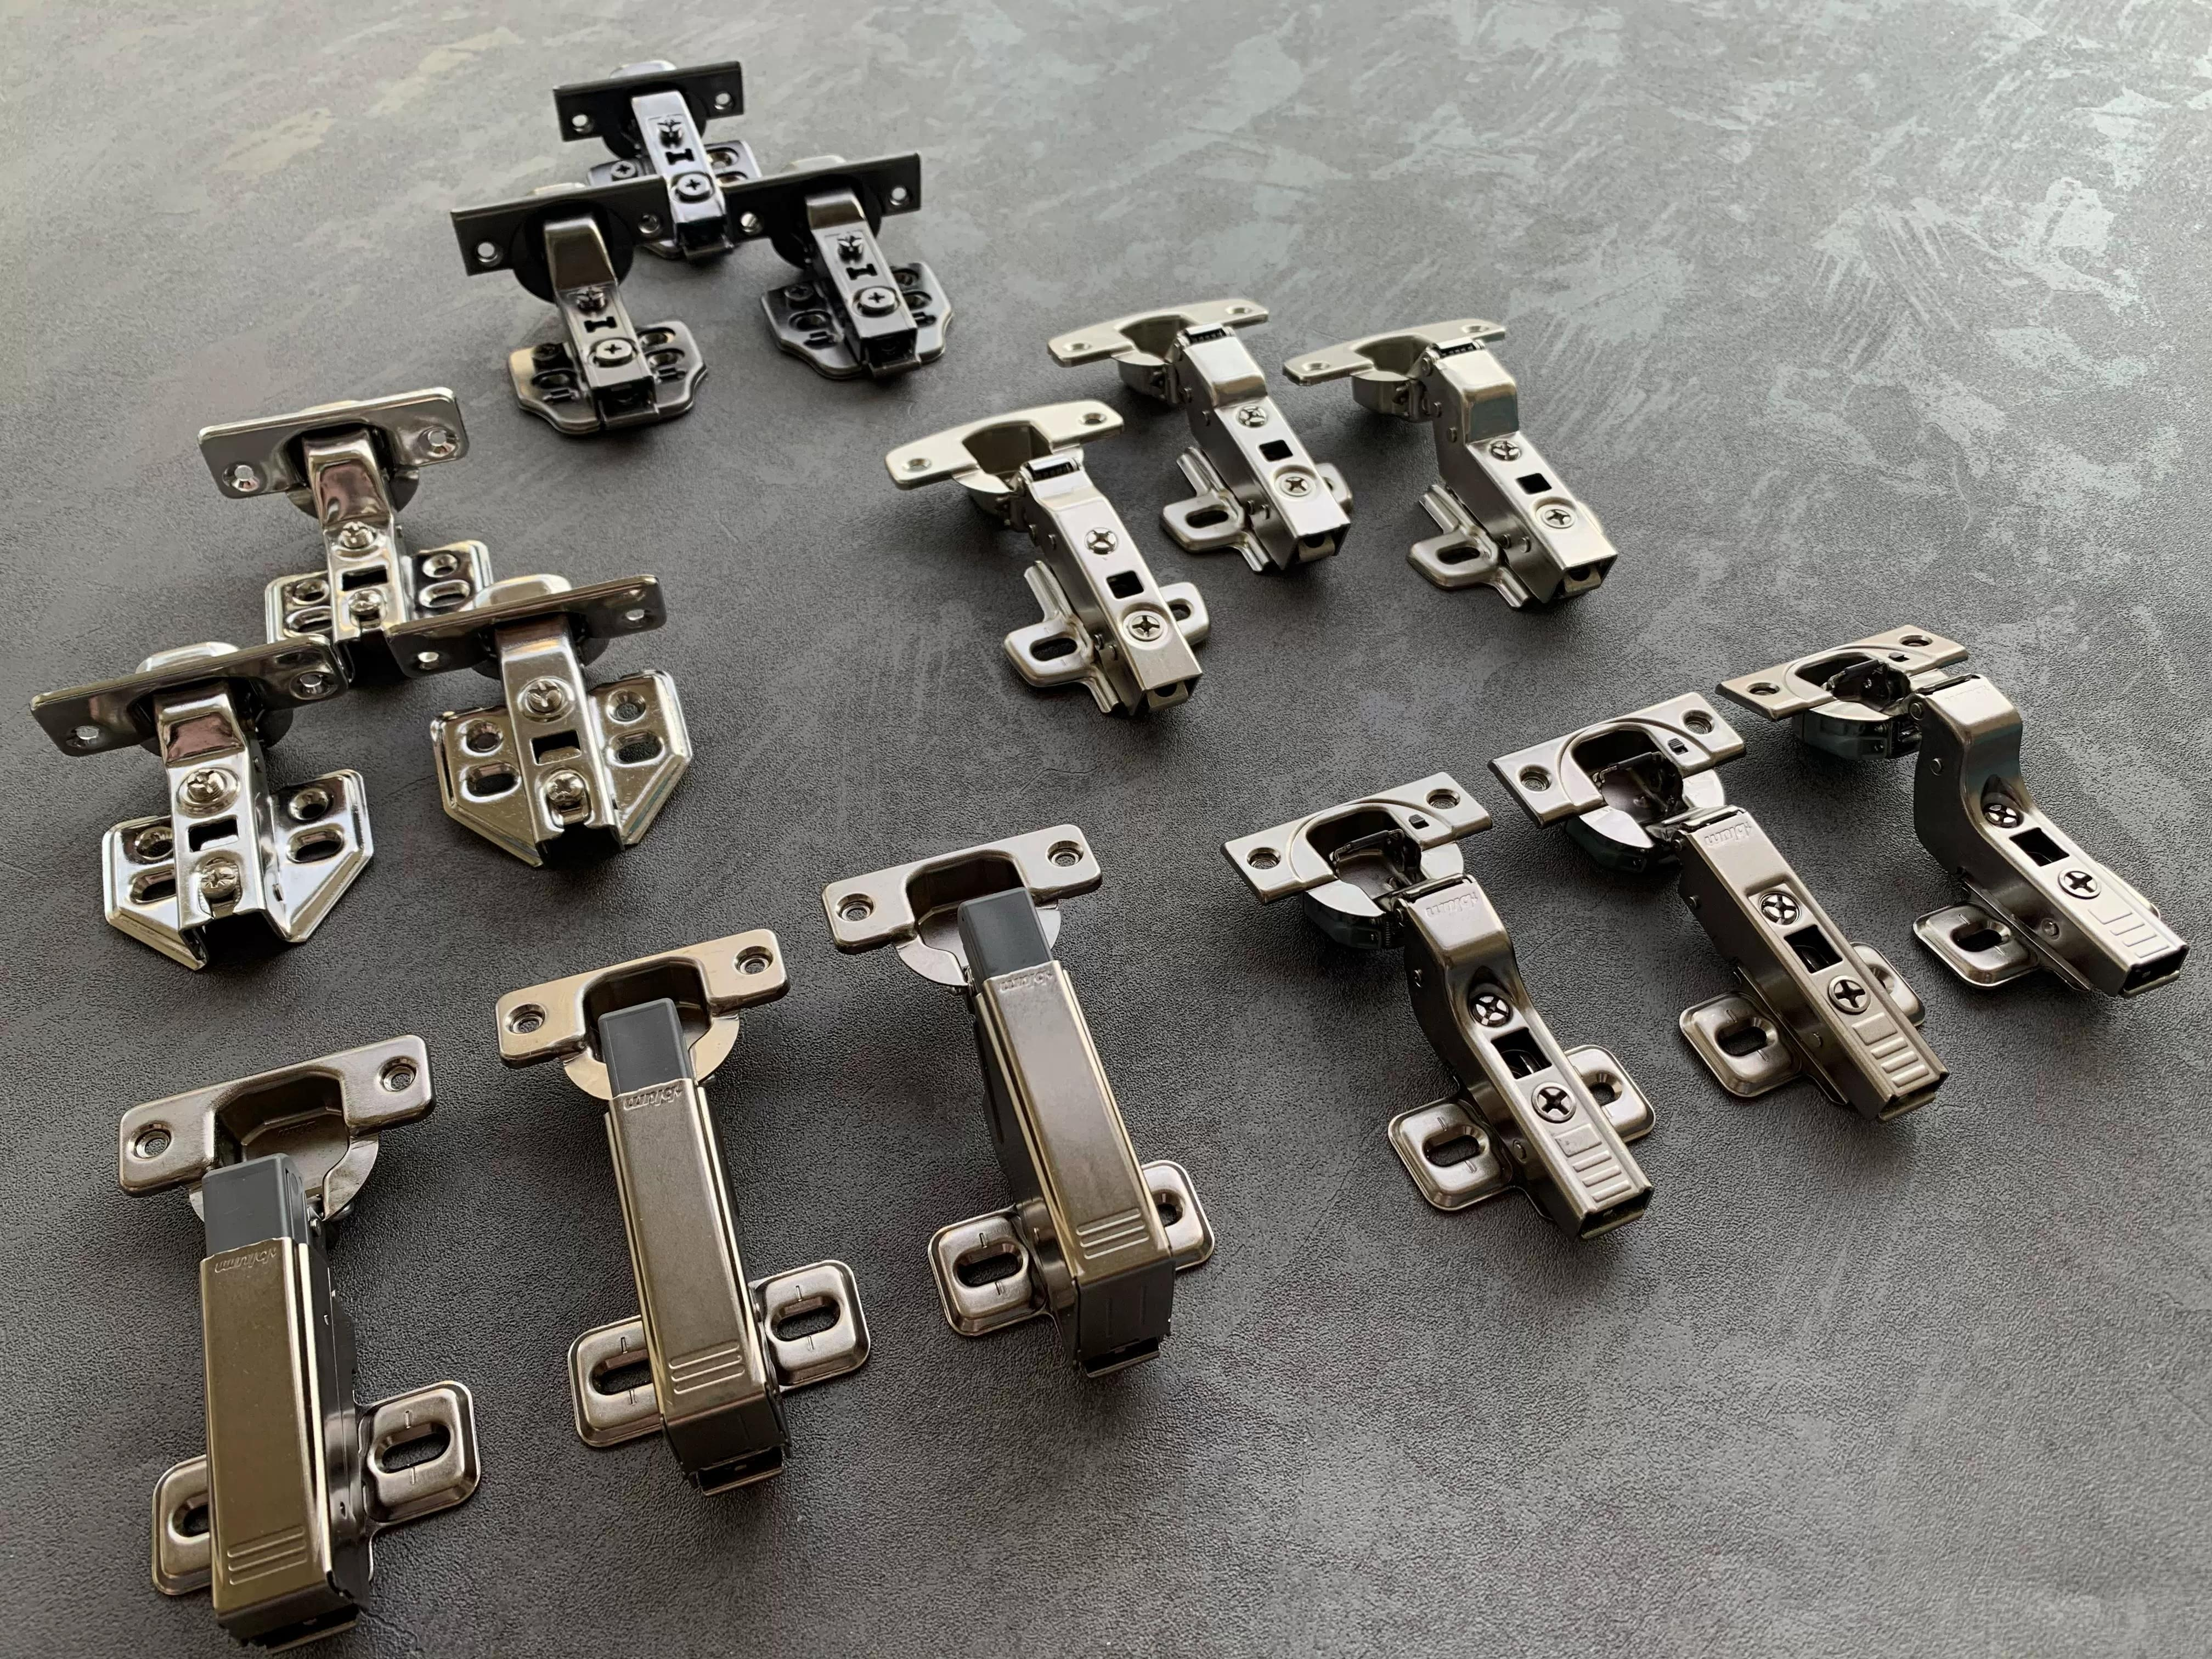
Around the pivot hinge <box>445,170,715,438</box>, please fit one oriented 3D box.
[{"bbox_3d":[-1.147,-1.178,4.593,0.424,0.295,0.692,-11,69,-16],"label":"pivot hinge"}]

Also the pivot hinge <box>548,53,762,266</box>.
[{"bbox_3d":[-1.044,-1.674,4.818,0.394,0.242,0.588,-10,61,-11],"label":"pivot hinge"}]

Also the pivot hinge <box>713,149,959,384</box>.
[{"bbox_3d":[-0.587,-1.315,4.722,0.426,0.309,0.600,-15,56,-10],"label":"pivot hinge"}]
